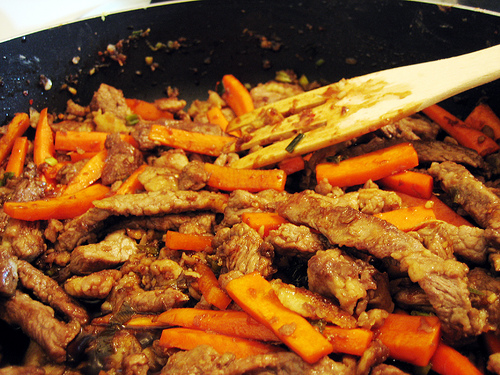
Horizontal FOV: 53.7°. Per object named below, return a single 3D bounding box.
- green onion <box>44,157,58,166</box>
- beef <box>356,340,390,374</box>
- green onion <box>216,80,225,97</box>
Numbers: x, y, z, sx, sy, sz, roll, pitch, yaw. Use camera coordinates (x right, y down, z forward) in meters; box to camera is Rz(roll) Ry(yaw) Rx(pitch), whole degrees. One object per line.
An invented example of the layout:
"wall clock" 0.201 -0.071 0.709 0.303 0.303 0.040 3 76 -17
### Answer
"green onion" -2.551 -0.323 6.314 0.128 0.086 0.096 -17 53 -9
"beef" 1.159 1.640 4.723 0.180 0.184 0.372 37 63 28
"green onion" -0.431 -1.421 7.165 0.045 0.108 0.193 1 73 -47
